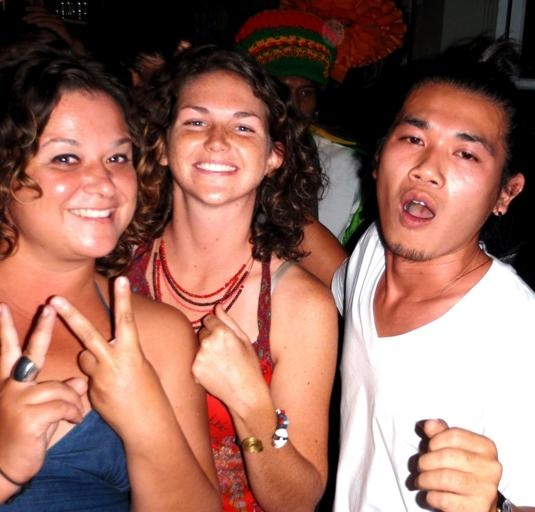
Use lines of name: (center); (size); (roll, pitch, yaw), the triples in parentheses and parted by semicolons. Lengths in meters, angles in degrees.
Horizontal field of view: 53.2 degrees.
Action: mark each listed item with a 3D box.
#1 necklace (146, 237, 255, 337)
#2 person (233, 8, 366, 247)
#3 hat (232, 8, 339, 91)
necklace: (-0.288, 0.145, 2.147); (0.431, 0.310, 0.042); (14, -5, 23)
person: (0.233, -0.884, 3.710); (1.180, 1.353, 0.584); (-1, 4, -4)
hat: (0.006, -1.361, 3.619); (0.732, 0.322, 0.827); (14, 26, -25)
